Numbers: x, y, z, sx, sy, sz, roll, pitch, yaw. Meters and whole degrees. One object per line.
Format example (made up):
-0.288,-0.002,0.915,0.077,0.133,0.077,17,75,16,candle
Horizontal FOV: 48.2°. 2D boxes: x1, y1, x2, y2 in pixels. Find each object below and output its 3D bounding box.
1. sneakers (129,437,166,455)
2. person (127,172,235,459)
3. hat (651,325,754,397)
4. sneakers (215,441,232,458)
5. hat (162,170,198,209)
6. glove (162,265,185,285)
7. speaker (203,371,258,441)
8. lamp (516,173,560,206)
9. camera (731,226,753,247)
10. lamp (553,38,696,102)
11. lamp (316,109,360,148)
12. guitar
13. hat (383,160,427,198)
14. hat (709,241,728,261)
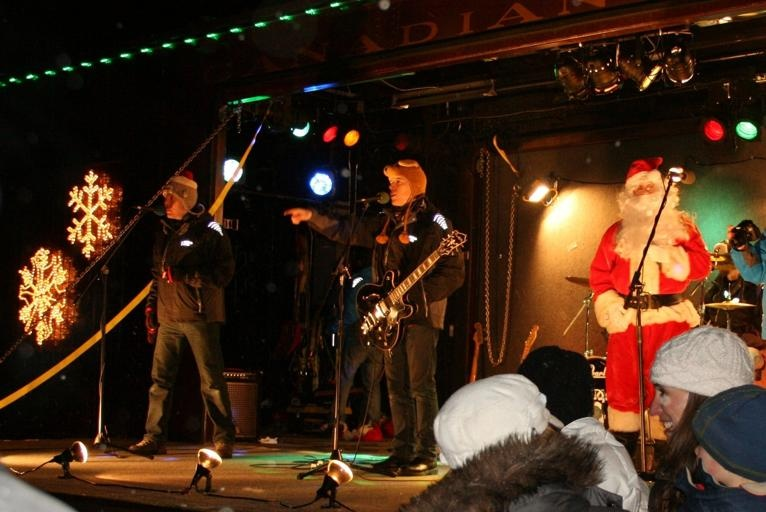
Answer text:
-1.944,1.637,7.360,0.329,0.141,0.126,17,-3,-29,sneakers
-1.582,0.521,7.434,0.872,2.365,0.625,8,-18,-13,person
1.729,0.571,4.475,0.565,0.365,0.570,7,-8,4,hat
-1.304,1.625,7.216,0.145,0.131,0.121,2,-1,-32,sneakers
-1.698,-0.589,7.642,0.285,0.365,0.372,10,-11,-1,hat
-1.751,0.161,7.271,0.188,0.069,0.139,24,-42,22,glove
-1.374,1.492,8.654,0.526,0.682,0.489,1,-1,-15,speaker
1.832,-0.799,10.215,0.298,0.160,0.404,-23,22,-11,lamp
2.760,-0.153,6.632,0.173,0.158,0.114,2,-18,5,camera
2.046,-1.634,7.298,0.885,0.421,0.561,-11,12,11,lamp
-0.459,-1.429,9.822,0.614,0.135,0.442,-1,-15,-35,lamp
0.310,0.402,6.919,0.686,0.573,1.189,-10,10,-1,guitar
0.223,-0.663,7.281,0.372,0.309,0.283,1,1,-16,hat
3.422,-0.058,8.737,0.196,0.262,0.065,12,-19,-3,hat
